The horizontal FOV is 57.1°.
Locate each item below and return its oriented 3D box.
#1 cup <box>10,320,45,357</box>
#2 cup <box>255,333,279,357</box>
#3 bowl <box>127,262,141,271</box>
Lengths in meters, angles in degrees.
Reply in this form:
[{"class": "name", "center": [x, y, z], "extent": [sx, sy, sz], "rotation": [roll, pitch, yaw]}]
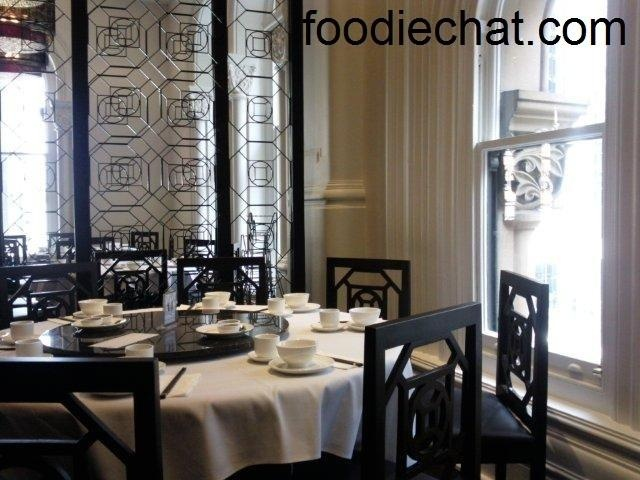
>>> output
[{"class": "cup", "center": [-1.147, 0.372, 2.279], "extent": [0.106, 0.146, 0.202], "rotation": [-1, -1, -11]}, {"class": "cup", "center": [-0.209, 0.409, 2.317], "extent": [0.081, 0.071, 0.081], "rotation": [1, -2, 0]}, {"class": "bowl", "center": [-1.696, 0.243, 5.322], "extent": [0.080, 0.053, 0.085], "rotation": [2, 5, 0]}]
